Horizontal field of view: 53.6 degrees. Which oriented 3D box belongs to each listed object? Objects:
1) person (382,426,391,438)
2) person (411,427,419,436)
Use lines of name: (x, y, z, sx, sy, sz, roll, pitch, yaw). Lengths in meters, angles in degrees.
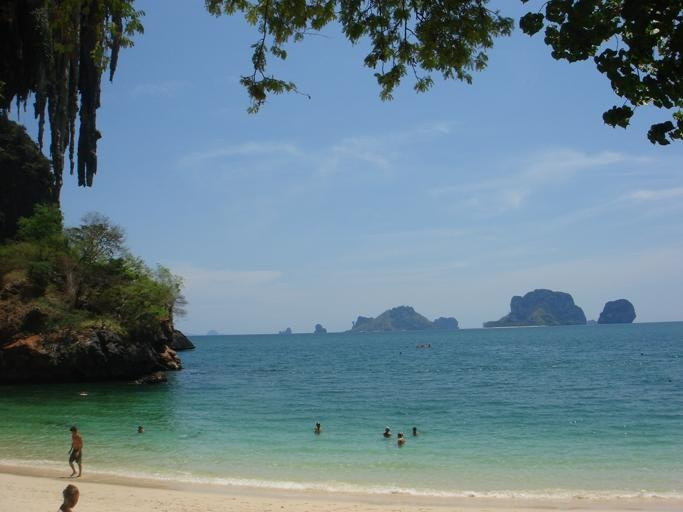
person: (3.328, 13.294, 50.297, 0.732, 0.765, 0.700, -2, -22, 30)
person: (5.535, 13.421, 50.972, 0.408, 0.491, 1.362, -4, -12, 7)
